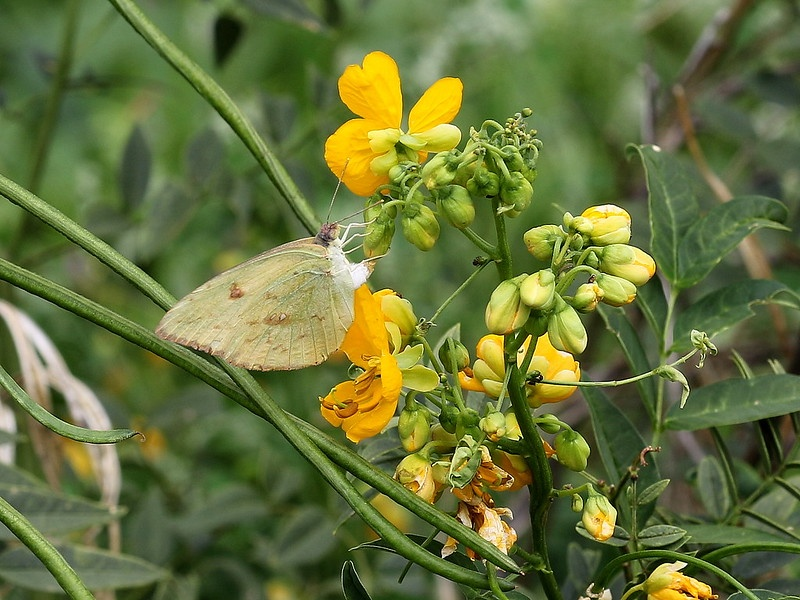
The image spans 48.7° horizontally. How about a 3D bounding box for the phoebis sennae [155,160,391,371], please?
[{"bbox_3d":[-0.238,-0.036,1.820,0.444,0.322,0.195,-31,36,-19],"label":"phoebis sennae"}]
